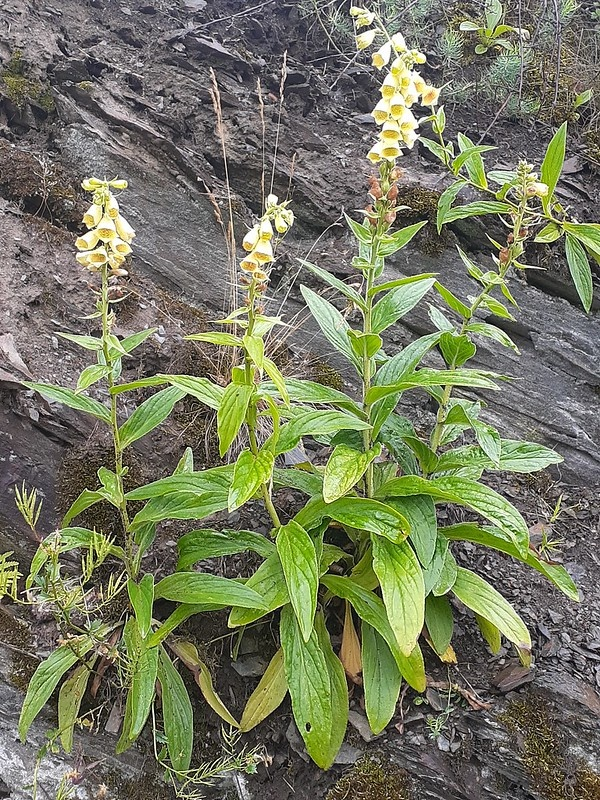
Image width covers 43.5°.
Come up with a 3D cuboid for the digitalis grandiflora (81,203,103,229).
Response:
[{"bbox_3d":[-0.779,-0.691,2.821,0.062,0.044,0.104,22,50,-3],"label":"digitalis grandiflora"}]

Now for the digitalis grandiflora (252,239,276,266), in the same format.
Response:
[{"bbox_3d":[-0.130,-0.511,2.729,0.091,0.063,0.140,1,25,-1],"label":"digitalis grandiflora"}]

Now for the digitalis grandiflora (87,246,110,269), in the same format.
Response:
[{"bbox_3d":[-0.772,-0.535,2.870,0.079,0.100,0.059,-11,49,-21],"label":"digitalis grandiflora"}]

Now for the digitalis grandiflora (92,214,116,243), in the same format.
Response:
[{"bbox_3d":[-0.729,-0.634,2.807,0.076,0.086,0.085,-3,45,-14],"label":"digitalis grandiflora"}]

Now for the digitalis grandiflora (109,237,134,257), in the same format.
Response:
[{"bbox_3d":[-0.705,-0.594,2.942,0.044,0.083,0.118,26,38,-28],"label":"digitalis grandiflora"}]
